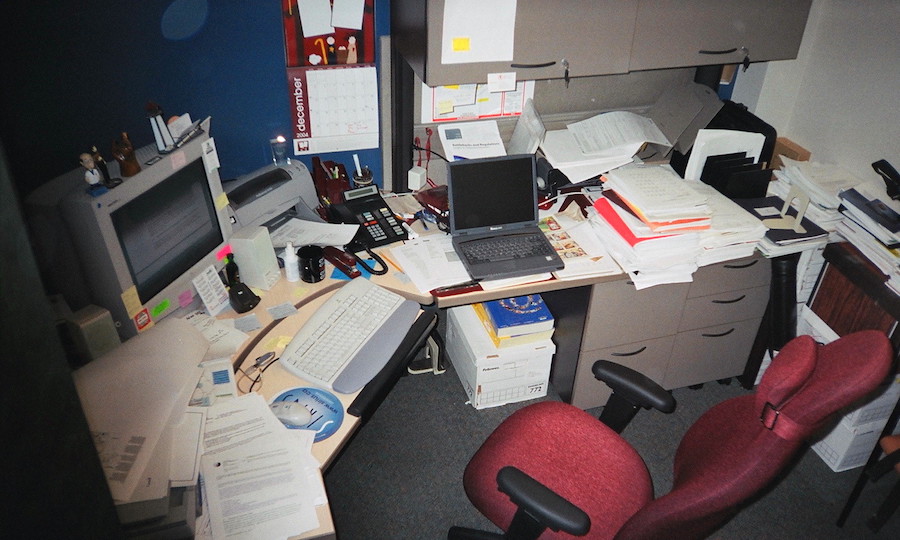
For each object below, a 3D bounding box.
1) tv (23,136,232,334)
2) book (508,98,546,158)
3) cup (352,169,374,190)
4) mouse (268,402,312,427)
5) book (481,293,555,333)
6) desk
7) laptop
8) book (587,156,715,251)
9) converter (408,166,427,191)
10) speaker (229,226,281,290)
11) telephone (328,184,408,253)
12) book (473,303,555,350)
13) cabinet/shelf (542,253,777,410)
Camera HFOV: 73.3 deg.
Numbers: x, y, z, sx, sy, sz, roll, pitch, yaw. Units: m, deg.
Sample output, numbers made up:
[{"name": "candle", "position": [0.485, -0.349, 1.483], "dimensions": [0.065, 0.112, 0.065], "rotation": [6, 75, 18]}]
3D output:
[{"name": "tv", "position": [-1.325, -0.137, 2.460], "dimensions": [0.469, 0.551, 0.651], "rotation": [16, 32, 20]}, {"name": "book", "position": [0.408, -0.755, 3.225], "dimensions": [0.220, 0.194, 0.347], "rotation": [-12, -6, 3]}, {"name": "cup", "position": [-0.471, -0.496, 3.252], "dimensions": [0.123, 0.110, 0.103], "rotation": [-2, 34, -12]}, {"name": "mouse", "position": [-0.632, 0.570, 2.411], "dimensions": [0.145, 0.045, 0.084], "rotation": [16, 41, 3]}, {"name": "book", "position": [0.377, 0.236, 3.228], "dimensions": [0.260, 0.058, 0.254], "rotation": [-6, 36, -8]}, {"name": "desk", "position": [-0.487, 0.298, 2.642], "dimensions": [1.986, 0.444, 1.281], "rotation": [-27, 76, -23]}, {"name": "laptop", "position": [0.210, -0.215, 3.161], "dimensions": [0.619, 0.436, 0.620], "rotation": [-9, 54, -12]}, {"name": "book", "position": [1.032, -0.322, 3.000], "dimensions": [0.448, 0.143, 0.432], "rotation": [-10, 51, -9]}, {"name": "converter", "position": [-0.185, -0.510, 3.343], "dimensions": [0.080, 0.105, 0.109], "rotation": [13, 30, 17]}, {"name": "speaker", "position": [-0.930, -0.048, 2.839], "dimensions": [0.210, 0.299, 0.166], "rotation": [-6, 30, 6]}, {"name": "telephone", "position": [-0.409, -0.271, 3.107], "dimensions": [0.362, 0.152, 0.361], "rotation": [-21, 62, -23]}, {"name": "book", "position": [0.373, 0.314, 3.267], "dimensions": [0.302, 0.065, 0.285], "rotation": [-9, 45, -19]}, {"name": "cabinet/shelf", "position": [1.051, 0.281, 3.100], "dimensions": [0.754, 0.500, 0.418], "rotation": [-11, 40, -12]}]
